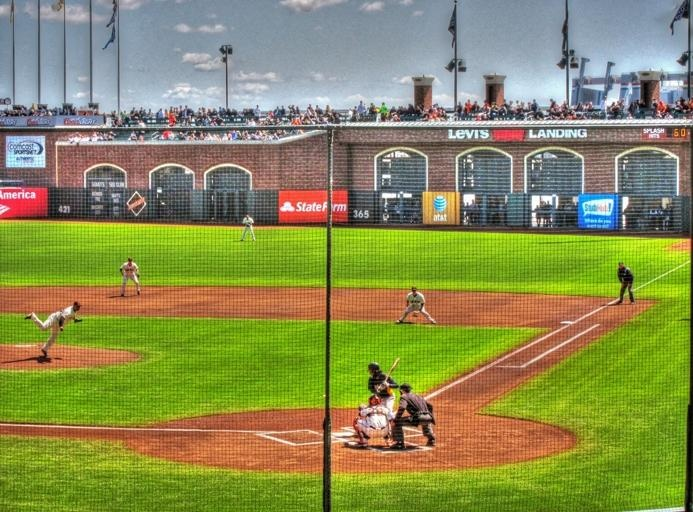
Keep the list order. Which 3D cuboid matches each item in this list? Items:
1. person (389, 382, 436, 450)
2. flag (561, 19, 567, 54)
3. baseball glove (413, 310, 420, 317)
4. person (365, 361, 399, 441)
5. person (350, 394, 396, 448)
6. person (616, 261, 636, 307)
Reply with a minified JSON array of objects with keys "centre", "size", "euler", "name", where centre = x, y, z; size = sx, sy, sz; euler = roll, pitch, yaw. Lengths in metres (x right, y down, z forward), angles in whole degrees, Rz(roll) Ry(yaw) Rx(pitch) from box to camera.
[{"centre":[2.318,5.359,51.342],"size":[1.447,2.126,0.675],"euler":[1,4,0],"name":"person"},{"centre":[13.477,-13.420,92.477],"size":[0.241,2.033,0.576],"euler":[0,4,-4],"name":"flag"},{"centre":[2.858,2.265,60.947],"size":[0.235,0.241,0.247],"euler":[5,13,14],"name":"baseball glove"},{"centre":[1.372,4.840,51.794],"size":[1.044,2.384,1.248],"euler":[-1,2,-14],"name":"person"},{"centre":[0.978,5.479,51.206],"size":[1.278,1.678,0.526],"euler":[0,4,-1],"name":"person"},{"centre":[11.981,1.083,64.058],"size":[0.743,1.679,1.562],"euler":[1,4,12],"name":"person"}]
